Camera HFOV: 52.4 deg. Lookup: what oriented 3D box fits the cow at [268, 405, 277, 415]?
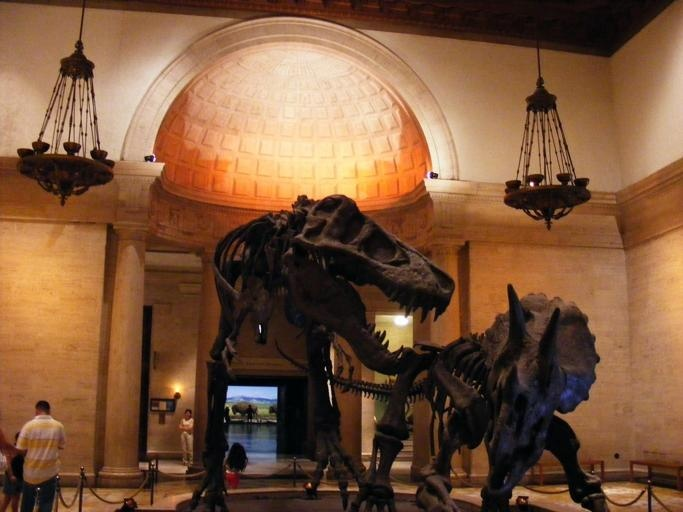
[{"bbox_3d":[-1.598,3.659,16.374,0.133,0.282,0.263,-8,-14,32],"label":"cow"}]
